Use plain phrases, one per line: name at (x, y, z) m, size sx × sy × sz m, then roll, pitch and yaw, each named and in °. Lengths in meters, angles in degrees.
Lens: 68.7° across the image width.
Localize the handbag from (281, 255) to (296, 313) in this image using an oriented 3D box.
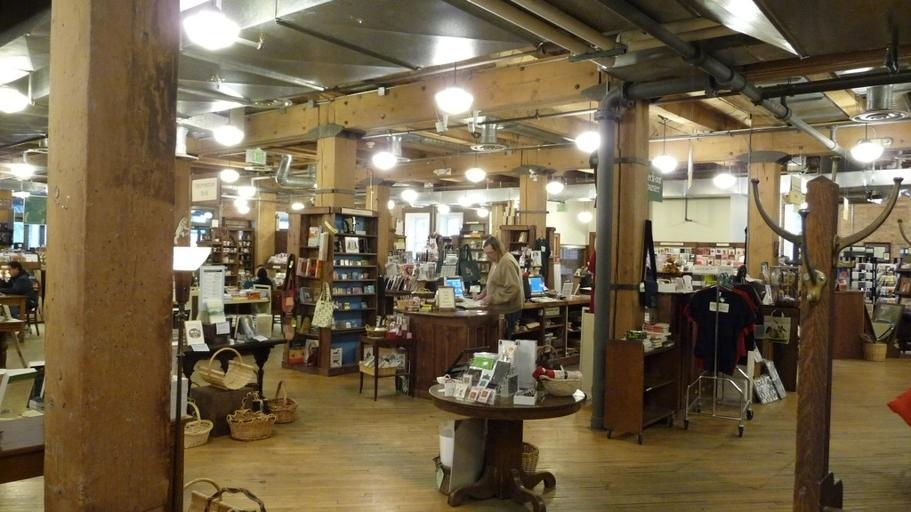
handbag at (-3.102, 0.532, 12.510) m, size 0.261 × 1.127 × 0.455 m, roll -1°, pitch 10°, yaw -15°

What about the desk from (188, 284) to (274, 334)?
desk at (-3.968, 0.943, 11.801) m, size 1.673 × 0.869 × 1.100 m, roll 0°, pitch -2°, yaw 13°

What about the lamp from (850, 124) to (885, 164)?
lamp at (8.255, -2.301, 13.306) m, size 0.470 × 0.774 × 2.644 m, roll 7°, pitch 10°, yaw 32°

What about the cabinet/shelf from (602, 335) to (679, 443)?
cabinet/shelf at (2.620, 1.906, 9.543) m, size 0.645 × 1.375 × 1.643 m, roll -1°, pitch 0°, yaw 30°

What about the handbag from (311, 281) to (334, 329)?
handbag at (-2.405, 0.913, 12.136) m, size 0.400 × 0.870 × 0.453 m, roll 2°, pitch 9°, yaw 2°

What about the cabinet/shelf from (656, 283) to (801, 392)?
cabinet/shelf at (4.141, 1.277, 10.323) m, size 2.164 × 1.221 × 1.136 m, roll -3°, pitch -7°, yaw 31°

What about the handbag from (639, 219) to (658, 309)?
handbag at (2.911, 0.117, 10.017) m, size 0.236 × 1.310 × 0.422 m, roll 6°, pitch 10°, yaw 24°

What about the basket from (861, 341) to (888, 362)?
basket at (9.048, 2.062, 14.476) m, size 0.461 × 0.285 × 0.449 m, roll 0°, pitch -1°, yaw 30°

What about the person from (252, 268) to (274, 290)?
person at (-4.943, 0.587, 17.321) m, size 0.606 × 0.742 × 0.446 m, roll 2°, pitch 6°, yaw 4°

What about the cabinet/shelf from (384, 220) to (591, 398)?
cabinet/shelf at (0.540, 0.890, 11.991) m, size 1.480 × 2.708 × 3.918 m, roll -5°, pitch -3°, yaw 40°

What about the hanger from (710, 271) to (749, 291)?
hanger at (4.211, 0.394, 10.254) m, size 0.602 × 0.180 × 0.451 m, roll 1°, pitch 0°, yaw -31°

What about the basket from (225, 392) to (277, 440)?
basket at (-2.691, 2.215, 9.122) m, size 0.504 × 0.538 × 0.633 m, roll -3°, pitch -6°, yaw 30°

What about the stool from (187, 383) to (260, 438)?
stool at (-3.219, 2.030, 9.359) m, size 0.738 × 0.597 × 0.678 m, roll -8°, pitch 22°, yaw -37°
